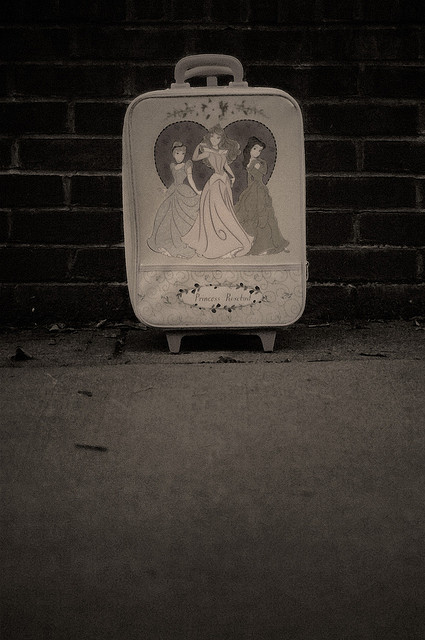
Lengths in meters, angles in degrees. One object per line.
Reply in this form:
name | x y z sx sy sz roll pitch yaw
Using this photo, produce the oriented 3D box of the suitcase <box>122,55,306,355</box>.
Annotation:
suitcase | -0.004 -0.178 1.273 0.310 0.541 0.180 -1 -8 -8
